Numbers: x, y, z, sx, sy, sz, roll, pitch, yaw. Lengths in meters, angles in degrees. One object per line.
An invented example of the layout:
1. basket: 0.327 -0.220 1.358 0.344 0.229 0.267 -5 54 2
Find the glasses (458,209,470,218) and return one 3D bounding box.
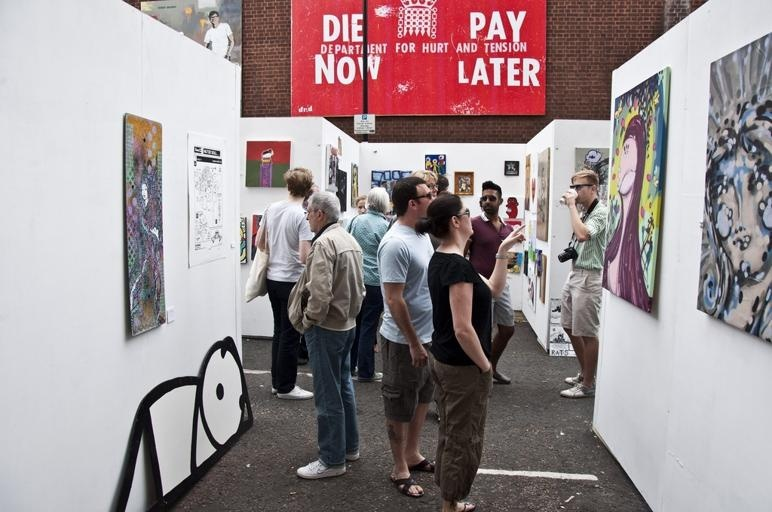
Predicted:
1. glasses: 0.548 -0.301 4.024 0.075 0.028 0.082 7 1 6

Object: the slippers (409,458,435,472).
1. slippers: 0.324 1.789 4.962 0.246 0.101 0.111 -1 -1 3

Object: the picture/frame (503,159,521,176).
1. picture/frame: 2.548 -1.747 11.583 0.270 0.346 0.034 1 -3 4

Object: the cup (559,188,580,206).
1. cup: 1.995 -0.609 6.098 0.286 0.109 0.178 -10 25 -26

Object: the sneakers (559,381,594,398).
1. sneakers: 2.187 1.531 6.640 0.399 0.196 0.156 0 0 5

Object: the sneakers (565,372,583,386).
1. sneakers: 2.266 1.488 7.038 0.242 0.184 0.101 4 10 13

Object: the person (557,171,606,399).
1. person: 2.151 0.350 6.399 0.453 2.522 0.693 3 8 19

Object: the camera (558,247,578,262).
1. camera: 1.984 0.020 6.348 0.210 0.114 0.159 -14 13 -30

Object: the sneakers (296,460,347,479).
1. sneakers: -0.542 1.794 4.858 0.367 0.194 0.165 3 -2 -2

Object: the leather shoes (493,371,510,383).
1. leather shoes: 1.411 1.460 7.016 0.102 0.098 0.209 -4 -2 -41
